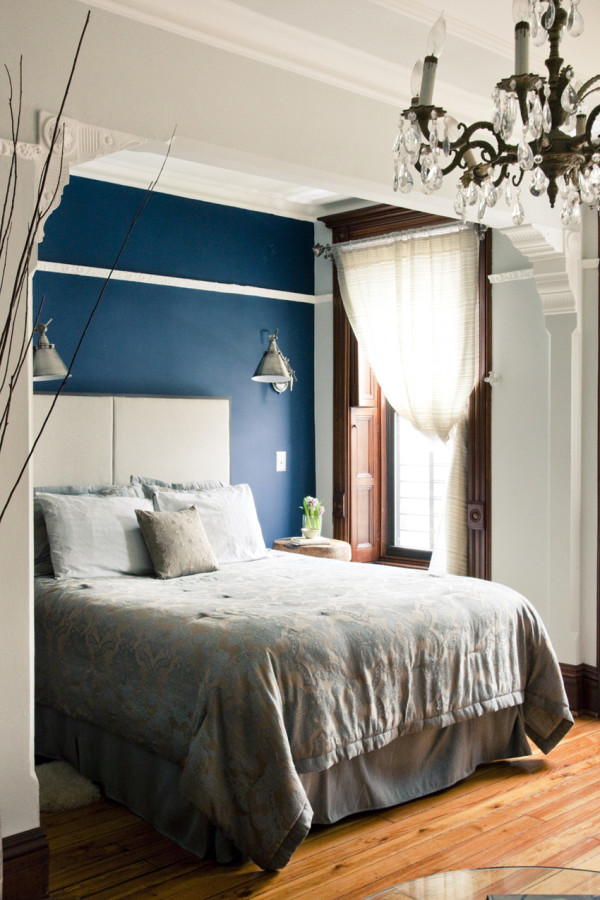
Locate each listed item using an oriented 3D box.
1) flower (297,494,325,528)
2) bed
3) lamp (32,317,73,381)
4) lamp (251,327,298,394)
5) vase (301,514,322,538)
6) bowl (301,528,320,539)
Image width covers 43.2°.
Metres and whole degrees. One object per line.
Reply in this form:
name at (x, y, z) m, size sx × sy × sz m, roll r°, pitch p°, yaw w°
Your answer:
flower at (0.094, 0.404, 4.985) m, size 0.165 × 0.250 × 0.170 m, roll -3°, pitch -5°, yaw 39°
bed at (-0.279, 0.557, 2.973) m, size 1.216 × 1.142 × 1.646 m, roll -3°, pitch 0°, yaw -43°
lamp at (-1.288, -0.539, 3.911) m, size 0.162 × 0.353 × 0.453 m, roll 1°, pitch -2°, yaw -19°
lamp at (-0.127, -0.594, 5.056) m, size 0.336 × 0.404 × 0.330 m, roll 4°, pitch 0°, yaw 4°
vase at (0.071, 0.491, 4.896) m, size 0.113 × 0.112 × 0.135 m, roll 1°, pitch -6°, yaw 2°
bowl at (0.064, 0.533, 4.868) m, size 0.071 × 0.046 × 0.077 m, roll -4°, pitch -3°, yaw 0°
